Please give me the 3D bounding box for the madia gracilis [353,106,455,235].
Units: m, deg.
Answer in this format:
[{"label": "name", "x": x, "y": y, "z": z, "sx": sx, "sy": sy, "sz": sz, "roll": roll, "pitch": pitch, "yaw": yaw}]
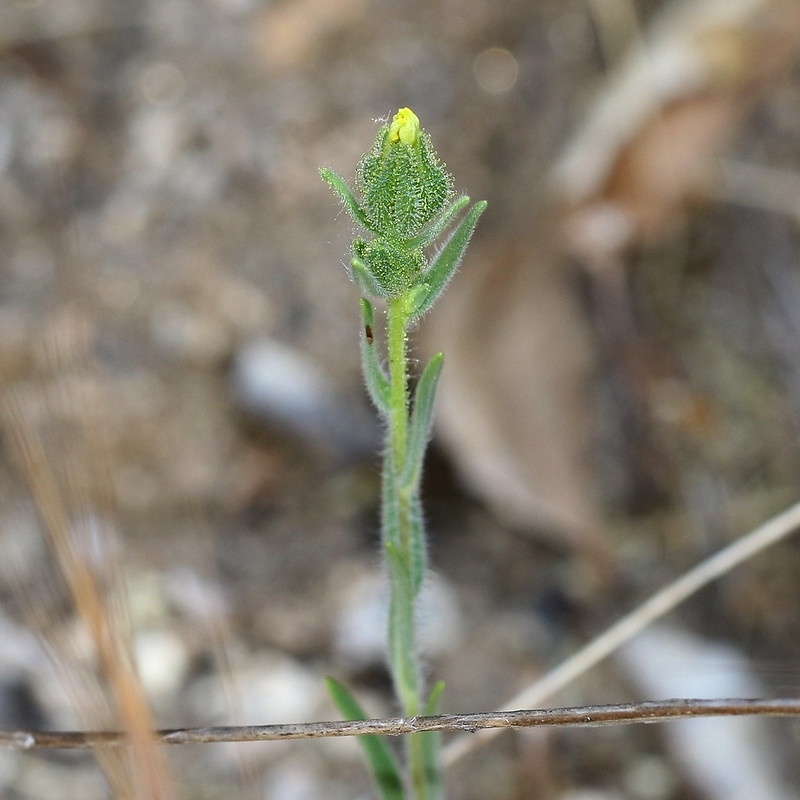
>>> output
[{"label": "madia gracilis", "x": 0.000, "y": -0.122, "z": 0.877, "sx": 0.059, "sy": 0.072, "sz": 0.060, "roll": 1, "pitch": 7, "yaw": 0}]
